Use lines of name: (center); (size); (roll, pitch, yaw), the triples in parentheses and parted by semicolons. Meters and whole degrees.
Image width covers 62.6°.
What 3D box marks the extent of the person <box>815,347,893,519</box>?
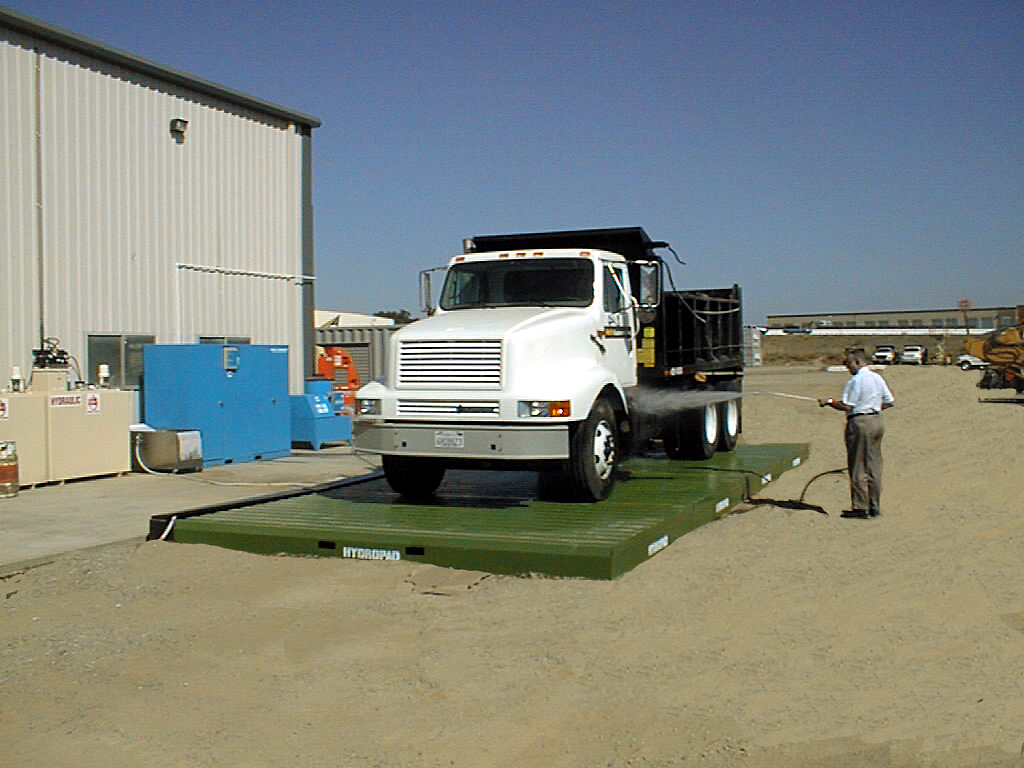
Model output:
person: (4.049, 0.612, 9.747); (0.629, 1.969, 0.842); (3, 6, 28)

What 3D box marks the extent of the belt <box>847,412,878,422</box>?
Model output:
belt: (4.022, 0.365, 9.617); (0.296, 0.108, 0.166); (2, 5, 22)

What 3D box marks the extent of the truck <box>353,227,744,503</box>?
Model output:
truck: (0.829, -0.311, 11.183); (2.667, 2.607, 5.968); (-2, -3, 27)
